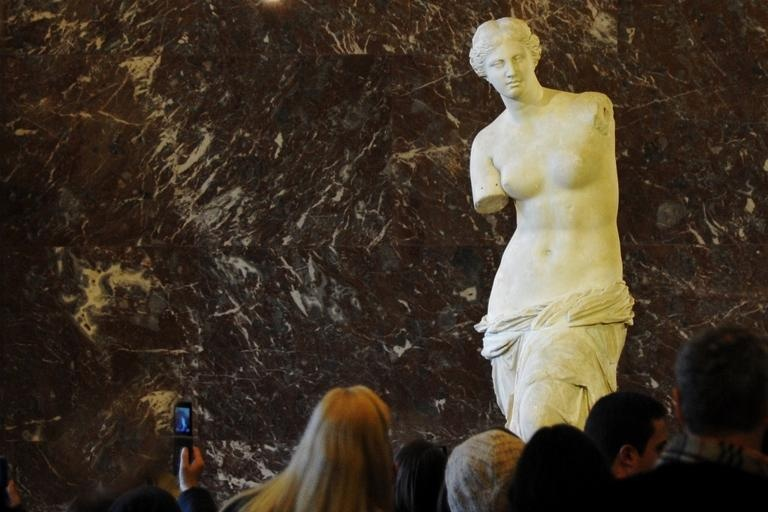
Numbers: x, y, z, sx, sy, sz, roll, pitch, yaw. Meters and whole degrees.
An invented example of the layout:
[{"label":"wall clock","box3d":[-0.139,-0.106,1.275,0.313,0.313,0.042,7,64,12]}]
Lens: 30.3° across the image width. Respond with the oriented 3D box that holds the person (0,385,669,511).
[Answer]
[{"label":"person","box3d":[-0.375,1.205,8.854,4.115,0.930,1.135,-3,-19,14]}]
